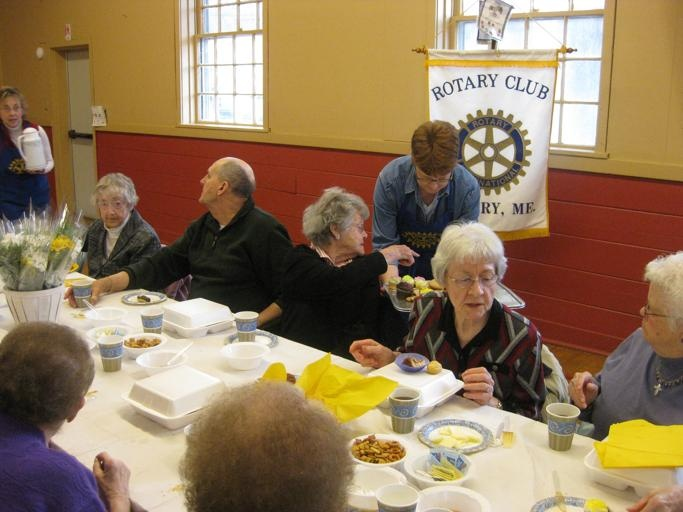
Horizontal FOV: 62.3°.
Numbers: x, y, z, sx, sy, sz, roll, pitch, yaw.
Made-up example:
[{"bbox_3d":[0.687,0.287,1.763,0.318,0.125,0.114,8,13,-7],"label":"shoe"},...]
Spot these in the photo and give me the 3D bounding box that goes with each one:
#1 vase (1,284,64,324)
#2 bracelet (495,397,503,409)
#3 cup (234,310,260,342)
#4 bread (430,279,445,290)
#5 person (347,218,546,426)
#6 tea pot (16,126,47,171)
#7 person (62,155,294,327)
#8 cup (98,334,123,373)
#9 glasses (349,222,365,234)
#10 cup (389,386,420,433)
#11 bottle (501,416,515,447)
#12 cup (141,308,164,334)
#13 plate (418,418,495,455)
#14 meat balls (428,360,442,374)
[{"bbox_3d":[-1.329,0.208,2.443,0.176,0.140,0.186,-1,0,-7],"label":"vase"},{"bbox_3d":[0.594,0.554,2.112,0.030,0.019,0.038,-1,7,2],"label":"bracelet"},{"bbox_3d":[-0.414,0.310,2.469,0.106,0.129,0.116,0,-3,0],"label":"cup"},{"bbox_3d":[0.452,0.139,2.687,0.065,0.024,0.068,10,4,-14],"label":"bread"},{"bbox_3d":[0.407,0.278,2.437,0.688,1.145,0.583,8,1,34],"label":"person"},{"bbox_3d":[-2.755,-0.954,5.043,0.216,0.389,0.241,-6,11,-32],"label":"tea pot"},{"bbox_3d":[-0.998,-0.147,3.389,1.194,1.130,0.783,-1,5,-37],"label":"person"},{"bbox_3d":[-0.916,0.389,2.257,0.116,0.141,0.129,0,3,-2],"label":"cup"},{"bbox_3d":[0.072,-0.142,2.891,0.043,0.031,0.054,-13,15,-41],"label":"glasses"},{"bbox_3d":[0.212,0.528,1.950,0.114,0.135,0.123,0,3,0],"label":"cup"},{"bbox_3d":[0.558,0.588,1.884,0.027,0.019,0.125,0,26,7],"label":"bottle"},{"bbox_3d":[-0.866,0.299,2.606,0.100,0.116,0.106,1,11,0],"label":"cup"},{"bbox_3d":[0.378,0.595,1.857,0.238,0.035,0.180,4,10,25],"label":"plate"},{"bbox_3d":[0.350,0.414,2.089,0.038,0.041,0.047,-8,-6,36],"label":"meat balls"}]
